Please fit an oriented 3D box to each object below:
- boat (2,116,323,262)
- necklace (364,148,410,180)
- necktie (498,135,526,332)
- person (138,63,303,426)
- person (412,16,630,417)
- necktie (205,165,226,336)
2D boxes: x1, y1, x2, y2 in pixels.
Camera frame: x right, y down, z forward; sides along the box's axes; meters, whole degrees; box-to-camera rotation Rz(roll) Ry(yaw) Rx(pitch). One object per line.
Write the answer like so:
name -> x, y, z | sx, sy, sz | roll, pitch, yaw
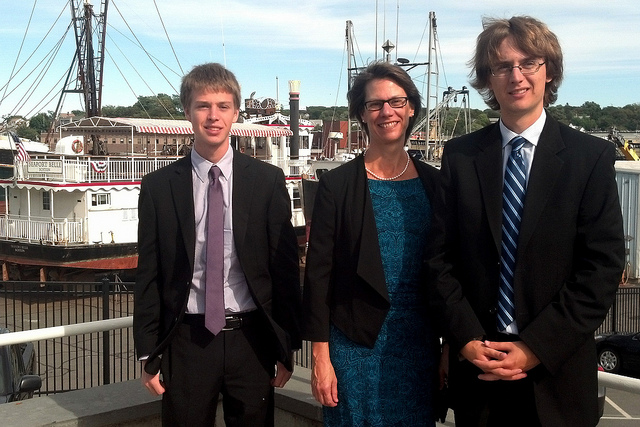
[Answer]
boat -> -3.480, -1.940, 28.017 | 6.088, 6.229, 20.487 | 6, 7, 38
necklace -> 0.486, -0.331, 4.098 | 0.330, 0.187, 0.125 | -5, 6, -30
necktie -> 1.131, 0.113, 3.508 | 0.152, 1.129, 0.253 | 0, 6, 21
person -> -0.685, 0.223, 3.992 | 1.051, 2.463, 0.466 | -3, 6, -6
person -> 1.181, 0.021, 3.510 | 1.088, 2.386, 0.594 | 0, 6, 26
necktie -> -0.691, 0.226, 3.924 | 0.129, 1.078, 0.268 | -3, 6, -2
